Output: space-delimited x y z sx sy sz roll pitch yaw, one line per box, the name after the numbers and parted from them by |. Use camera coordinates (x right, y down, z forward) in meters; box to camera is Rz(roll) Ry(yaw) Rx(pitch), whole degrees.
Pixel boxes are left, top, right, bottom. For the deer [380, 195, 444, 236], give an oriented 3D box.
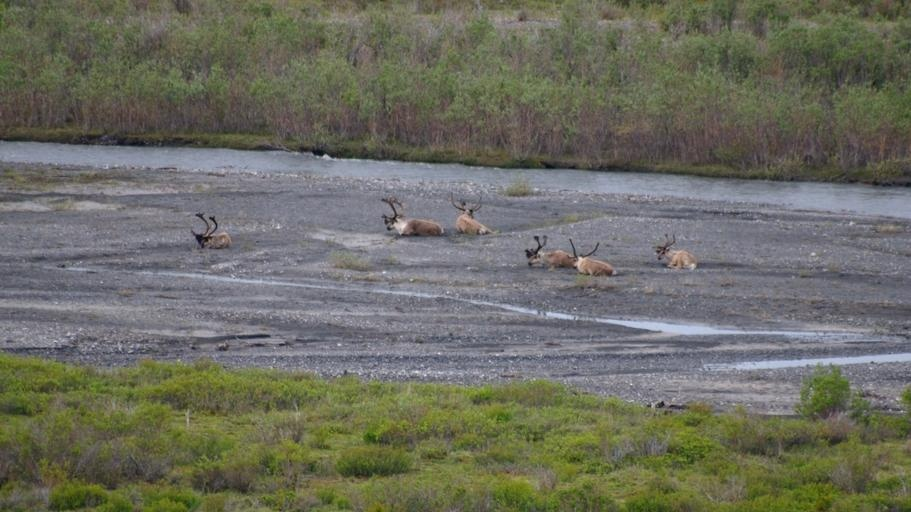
-3.215 -2.875 132.901 4.845 3.959 2.366 3 -1 6 | deer
